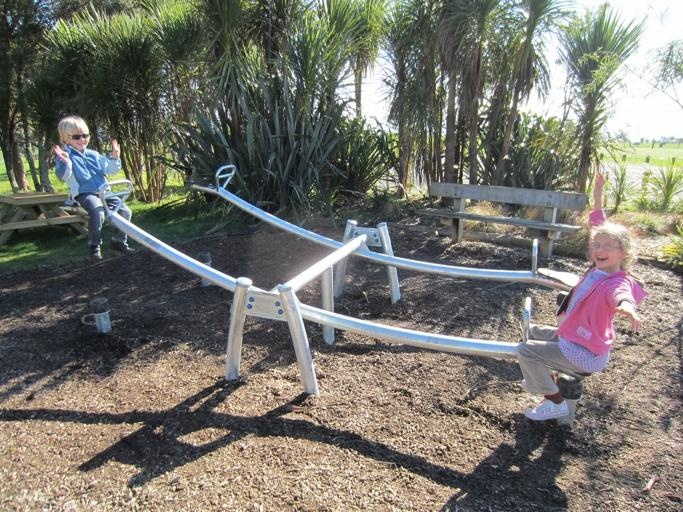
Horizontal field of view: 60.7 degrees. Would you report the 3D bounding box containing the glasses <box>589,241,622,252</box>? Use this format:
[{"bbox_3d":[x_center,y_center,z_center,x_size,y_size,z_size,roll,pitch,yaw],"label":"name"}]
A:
[{"bbox_3d":[1.881,-0.071,4.180,0.204,0.066,0.081,12,14,33],"label":"glasses"}]

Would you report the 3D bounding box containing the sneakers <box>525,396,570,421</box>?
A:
[{"bbox_3d":[1.511,1.144,4.382,0.339,0.174,0.143,-2,6,5],"label":"sneakers"}]

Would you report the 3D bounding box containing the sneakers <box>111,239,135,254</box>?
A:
[{"bbox_3d":[-2.613,-0.103,7.008,0.272,0.204,0.096,-5,31,16],"label":"sneakers"}]
